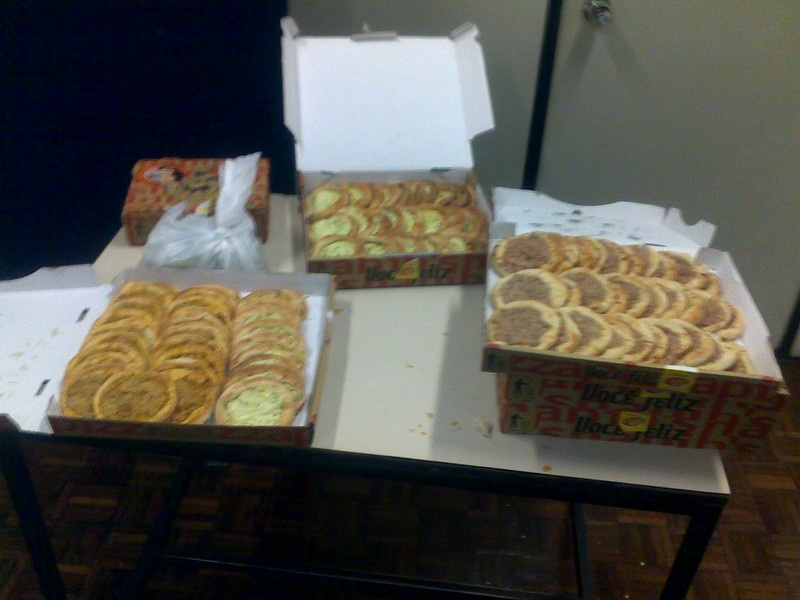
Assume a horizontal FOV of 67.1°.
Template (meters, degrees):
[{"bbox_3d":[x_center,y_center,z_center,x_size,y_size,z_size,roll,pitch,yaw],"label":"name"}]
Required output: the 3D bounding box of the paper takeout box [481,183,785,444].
[{"bbox_3d":[0.792,0.131,2.325,1.234,0.410,0.926,3,52,1],"label":"paper takeout box"}]

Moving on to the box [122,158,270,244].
[{"bbox_3d":[-1.008,-0.436,2.801,0.787,0.200,0.407,0,51,-7],"label":"box"}]
